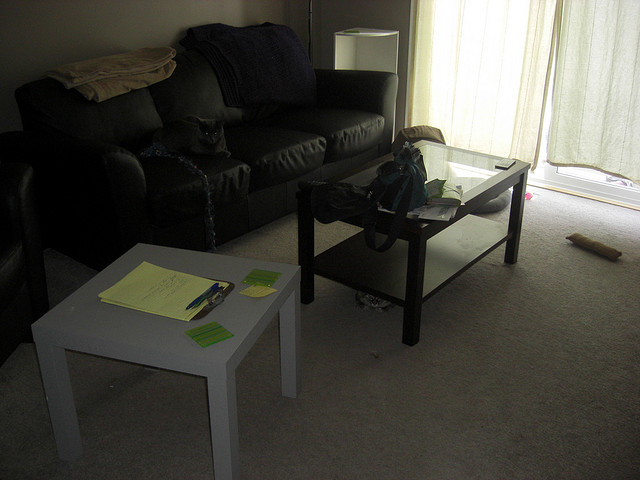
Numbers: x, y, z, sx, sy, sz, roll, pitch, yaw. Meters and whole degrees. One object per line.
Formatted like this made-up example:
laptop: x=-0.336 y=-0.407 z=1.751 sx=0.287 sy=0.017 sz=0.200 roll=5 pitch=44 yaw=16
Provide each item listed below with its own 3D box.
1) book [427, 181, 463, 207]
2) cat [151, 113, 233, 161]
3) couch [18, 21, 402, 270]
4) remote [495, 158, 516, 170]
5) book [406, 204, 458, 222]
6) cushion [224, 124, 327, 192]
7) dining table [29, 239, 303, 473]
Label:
book: x=0.594 y=-0.212 z=2.320 sx=0.117 sy=0.042 sz=0.157 roll=11 pitch=31 yaw=22
cat: x=-0.806 y=-0.641 z=2.885 sx=0.260 sy=0.151 sz=0.339 roll=25 pitch=49 yaw=22
couch: x=-0.551 y=-0.690 z=3.332 sx=1.020 sy=1.070 sz=2.359 roll=17 pitch=32 yaw=33
remote: x=0.987 y=-0.408 z=2.733 sx=0.061 sy=0.017 sz=0.096 roll=14 pitch=39 yaw=26
book: x=0.485 y=-0.118 z=2.204 sx=0.115 sy=0.028 sz=0.117 roll=12 pitch=32 yaw=23
cushion: x=-0.371 y=-0.582 z=3.166 sx=0.462 sy=0.206 sz=0.514 roll=27 pitch=37 yaw=36
dining table: x=-0.549 y=0.499 z=2.008 sx=0.788 sy=0.792 sz=0.839 roll=13 pitch=35 yaw=17
